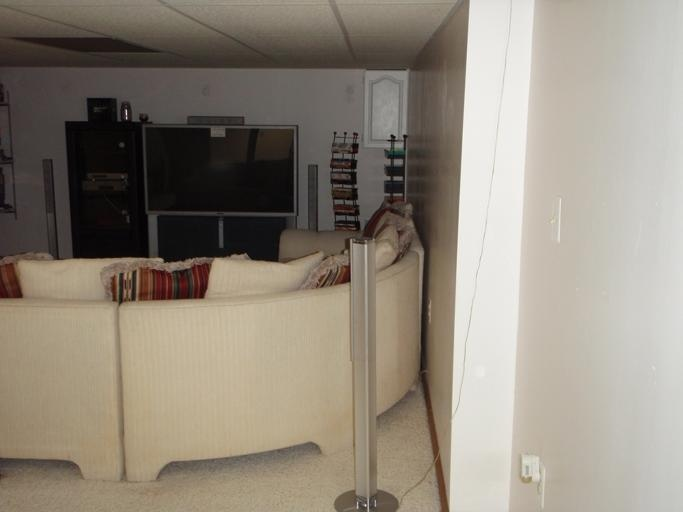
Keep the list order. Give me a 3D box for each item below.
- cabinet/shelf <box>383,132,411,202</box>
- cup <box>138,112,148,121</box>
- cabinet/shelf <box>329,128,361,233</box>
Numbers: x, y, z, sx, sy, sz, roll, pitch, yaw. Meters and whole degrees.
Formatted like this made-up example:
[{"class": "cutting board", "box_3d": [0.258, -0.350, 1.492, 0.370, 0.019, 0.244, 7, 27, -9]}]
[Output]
[{"class": "cabinet/shelf", "box_3d": [0.524, -0.872, 5.588, 0.221, 0.641, 0.765, 0, 7, 4]}, {"class": "cup", "box_3d": [-2.025, -1.413, 5.894, 0.108, 0.081, 0.099, 2, 21, -1]}, {"class": "cabinet/shelf", "box_3d": [0.034, -0.784, 5.827, 0.294, 0.976, 0.503, 0, 7, 1]}]
